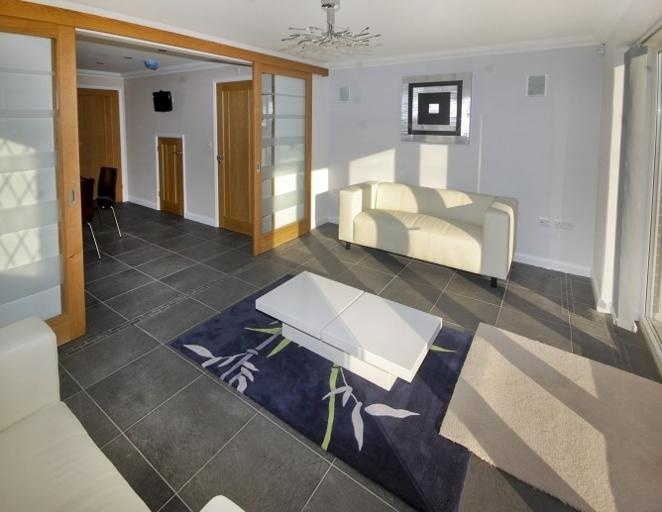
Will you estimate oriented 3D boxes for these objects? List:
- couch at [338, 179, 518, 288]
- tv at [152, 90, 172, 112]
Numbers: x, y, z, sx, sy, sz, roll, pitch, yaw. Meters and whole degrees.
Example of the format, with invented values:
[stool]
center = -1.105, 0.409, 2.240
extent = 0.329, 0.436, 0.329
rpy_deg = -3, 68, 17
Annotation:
[couch]
center = 1.138, -0.380, 5.457
extent = 2.097, 0.947, 0.789
rpy_deg = 14, 21, 29
[tv]
center = -2.710, -2.545, 7.015
extent = 0.311, 0.340, 0.113
rpy_deg = 12, 24, 26
